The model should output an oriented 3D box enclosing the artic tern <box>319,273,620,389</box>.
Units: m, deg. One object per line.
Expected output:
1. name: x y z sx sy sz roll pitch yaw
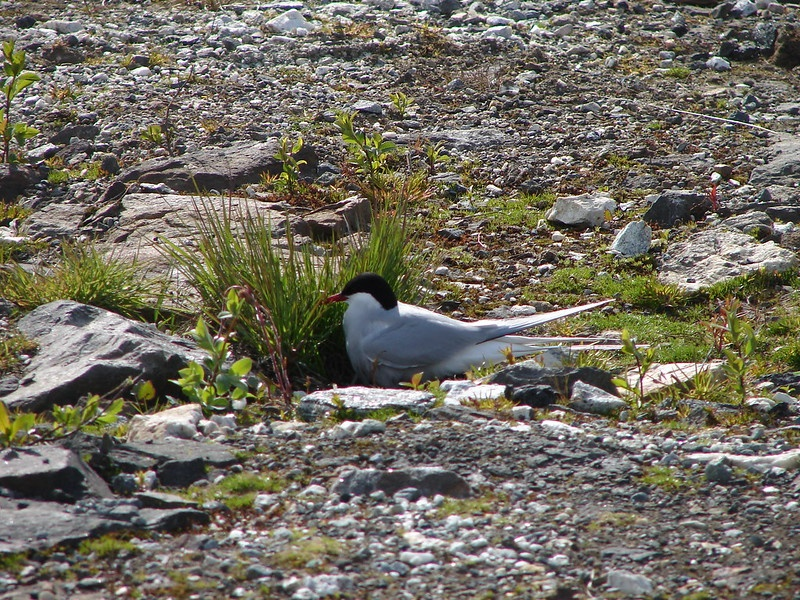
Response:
1. artic tern: 0.736 0.269 11.694 2.894 0.930 0.743 -5 3 30
